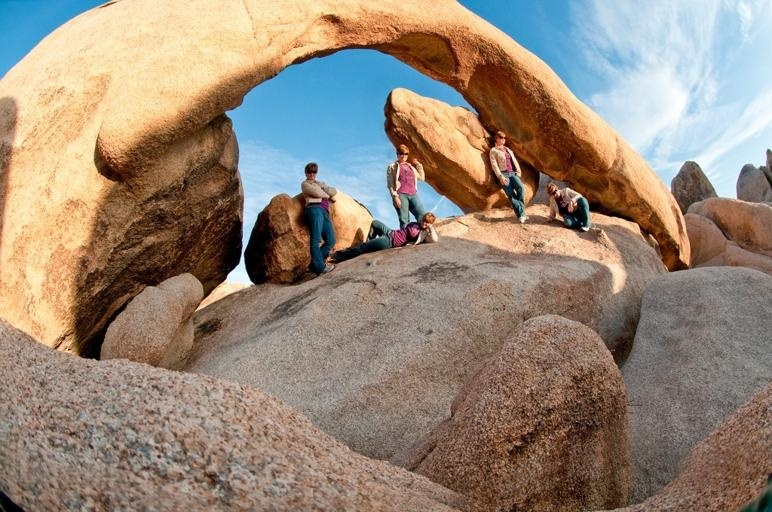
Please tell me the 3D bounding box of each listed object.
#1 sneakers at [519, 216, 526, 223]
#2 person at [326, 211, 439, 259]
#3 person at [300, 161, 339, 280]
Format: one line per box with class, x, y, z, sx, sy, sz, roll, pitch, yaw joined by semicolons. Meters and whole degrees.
sneakers;1.703;-0.451;9.391;0.050;0.049;0.127;14;-2;21
person;0.072;-0.205;9.079;0.875;0.429;0.581;-8;34;16
person;-0.775;-0.436;8.920;0.393;1.054;0.973;-2;28;-6
